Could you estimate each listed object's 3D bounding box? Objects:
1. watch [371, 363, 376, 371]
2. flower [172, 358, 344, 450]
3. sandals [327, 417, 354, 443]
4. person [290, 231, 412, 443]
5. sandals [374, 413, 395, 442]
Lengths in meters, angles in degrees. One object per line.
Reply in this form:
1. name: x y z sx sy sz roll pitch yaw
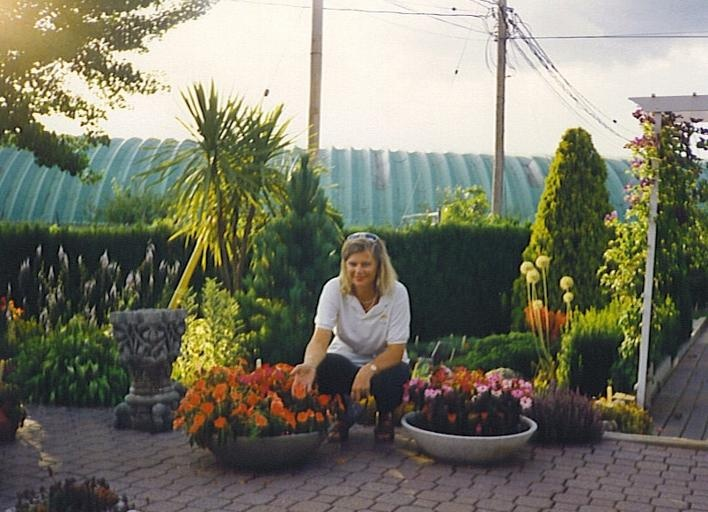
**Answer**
1. watch: 0.197 1.093 8.002 0.036 0.061 0.090 8 16 28
2. flower: -0.950 1.499 7.857 1.506 0.676 0.713 0 14 -6
3. sandals: -0.141 1.761 8.243 0.211 0.253 0.053 14 -4 -28
4. person: 0.009 0.841 8.178 1.295 2.084 1.087 -12 17 -39
5. sandals: 0.322 1.735 8.469 0.204 0.480 0.279 0 1 0
